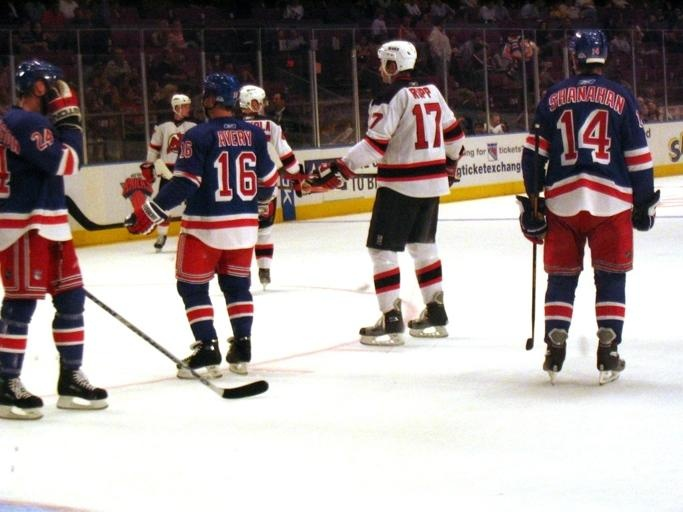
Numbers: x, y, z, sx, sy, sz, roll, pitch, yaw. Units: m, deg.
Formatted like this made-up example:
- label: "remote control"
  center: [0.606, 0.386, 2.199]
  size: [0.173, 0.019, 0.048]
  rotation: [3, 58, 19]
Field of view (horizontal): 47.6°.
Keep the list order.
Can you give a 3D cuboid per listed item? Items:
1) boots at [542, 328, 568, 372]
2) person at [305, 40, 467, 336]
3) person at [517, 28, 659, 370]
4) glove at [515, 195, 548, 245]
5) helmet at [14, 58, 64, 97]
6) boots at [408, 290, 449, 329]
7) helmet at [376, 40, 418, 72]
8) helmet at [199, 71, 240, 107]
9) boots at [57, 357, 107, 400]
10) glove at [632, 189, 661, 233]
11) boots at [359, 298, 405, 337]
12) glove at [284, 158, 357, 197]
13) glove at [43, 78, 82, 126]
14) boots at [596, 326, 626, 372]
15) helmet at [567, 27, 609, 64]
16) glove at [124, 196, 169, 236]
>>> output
- label: "boots"
  center: [1.099, 0.539, 4.060]
  size: [0.127, 0.282, 0.101]
  rotation: [2, 14, -1]
- label: "person"
  center: [0.384, -0.444, 5.280]
  size: [0.644, 2.027, 0.846]
  rotation: [4, 12, 38]
- label: "person"
  center: [1.307, -0.275, 4.118]
  size: [0.724, 1.845, 0.621]
  rotation: [0, 10, 18]
- label: "glove"
  center: [1.030, -0.193, 4.201]
  size: [0.158, 0.247, 0.134]
  rotation: [-2, 2, 20]
- label: "helmet"
  center: [-1.500, -0.887, 3.882]
  size: [0.231, 0.184, 0.177]
  rotation: [-11, 13, -21]
- label: "boots"
  center: [0.606, 0.399, 5.351]
  size: [0.341, 0.265, 0.118]
  rotation: [-8, -11, 32]
- label: "helmet"
  center: [0.371, -1.348, 5.276]
  size: [0.263, 0.179, 0.218]
  rotation: [16, 15, 28]
- label: "helmet"
  center: [-0.707, -0.984, 4.590]
  size: [0.232, 0.215, 0.188]
  rotation: [15, 17, 27]
- label: "boots"
  center: [-1.319, 0.666, 3.978]
  size: [0.336, 0.176, 0.108]
  rotation: [-1, 5, 20]
- label: "glove"
  center: [1.678, -0.270, 4.248]
  size: [0.107, 0.114, 0.283]
  rotation: [4, 22, 19]
- label: "boots"
  center: [0.262, 0.425, 5.188]
  size: [0.296, 0.264, 0.168]
  rotation: [-4, 9, -4]
- label: "glove"
  center: [-0.185, -0.523, 5.323]
  size: [0.273, 0.164, 0.633]
  rotation: [-31, 9, -36]
- label: "glove"
  center: [-1.389, -0.756, 3.891]
  size: [0.183, 0.212, 0.231]
  rotation: [-14, 18, -16]
- label: "boots"
  center: [1.451, 0.503, 4.106]
  size: [0.126, 0.218, 0.340]
  rotation: [3, 1, 40]
- label: "helmet"
  center: [1.338, -1.142, 4.219]
  size: [0.191, 0.180, 0.220]
  rotation: [1, 27, 6]
- label: "glove"
  center: [-1.114, -0.229, 4.443]
  size: [0.235, 0.188, 0.098]
  rotation: [-37, 22, 13]
